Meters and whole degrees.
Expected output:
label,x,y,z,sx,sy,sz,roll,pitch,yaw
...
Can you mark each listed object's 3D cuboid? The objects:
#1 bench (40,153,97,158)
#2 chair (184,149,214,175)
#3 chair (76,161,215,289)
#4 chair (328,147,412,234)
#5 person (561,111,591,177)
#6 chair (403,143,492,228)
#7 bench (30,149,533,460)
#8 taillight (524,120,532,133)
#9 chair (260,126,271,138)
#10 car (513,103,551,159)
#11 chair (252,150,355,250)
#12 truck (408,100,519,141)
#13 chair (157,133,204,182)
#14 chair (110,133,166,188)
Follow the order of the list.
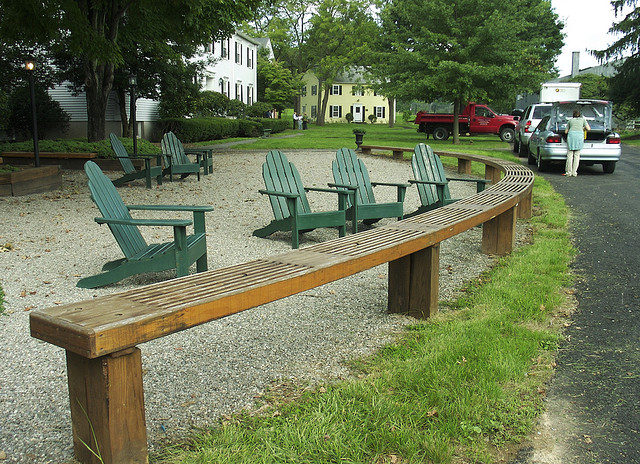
label,x,y,z,sx,sy,sz,roll,pitch,yaw
bench,-6.416,-1.918,14.941,1.323,0.135,0.189,1,13,0
chair,-2.986,-1.812,15.097,0.522,0.716,0.710,1,6,11
chair,-1.903,-0.065,6.560,1.305,1.350,1.065,3,10,9
chair,0.664,-0.616,8.894,0.983,1.352,1.255,-3,5,-17
person,6.378,-2.211,14.861,0.581,1.616,0.733,6,14,22
chair,1.964,-0.721,9.376,1.180,1.282,0.997,7,11,40
bench,0.455,0.515,5.764,1.198,1.056,6.012,11,17,36
taillight,6.798,-3.432,19.368,0.077,0.323,0.319,2,-2,29
chair,-3.239,-5.700,34.128,0.587,0.723,0.534,-6,10,-37
car,7.473,-3.479,20.618,1.517,1.350,2.742,0,17,8
chair,-0.325,-0.550,8.449,1.090,1.255,1.065,16,-3,-13
truck,8.051,-5.986,32.219,5.113,2.060,5.953,6,14,18
chair,-3.272,-1.705,13.550,0.815,1.037,1.043,-5,14,-28
chair,-3.955,-1.589,13.069,1.347,1.469,0.951,5,14,4
